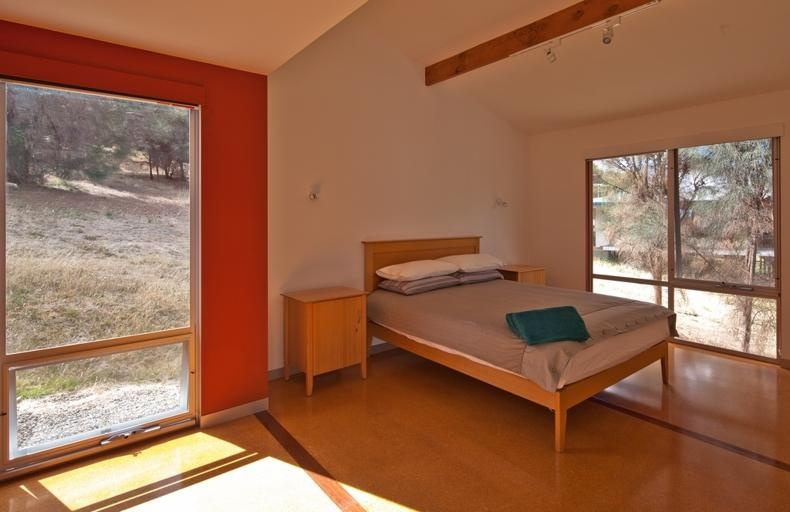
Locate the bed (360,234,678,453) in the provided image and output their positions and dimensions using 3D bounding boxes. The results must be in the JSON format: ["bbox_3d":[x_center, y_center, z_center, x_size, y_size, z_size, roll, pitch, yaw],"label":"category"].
[{"bbox_3d":[1.233,0.729,5.556,1.917,1.533,2.764,-6,12,-44],"label":"bed"}]

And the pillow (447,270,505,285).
[{"bbox_3d":[1.071,0.275,6.388,0.508,0.178,0.087,-9,-12,-26],"label":"pillow"}]

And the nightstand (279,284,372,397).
[{"bbox_3d":[-0.773,0.866,5.462,0.775,0.889,0.630,-5,5,-36],"label":"nightstand"}]
